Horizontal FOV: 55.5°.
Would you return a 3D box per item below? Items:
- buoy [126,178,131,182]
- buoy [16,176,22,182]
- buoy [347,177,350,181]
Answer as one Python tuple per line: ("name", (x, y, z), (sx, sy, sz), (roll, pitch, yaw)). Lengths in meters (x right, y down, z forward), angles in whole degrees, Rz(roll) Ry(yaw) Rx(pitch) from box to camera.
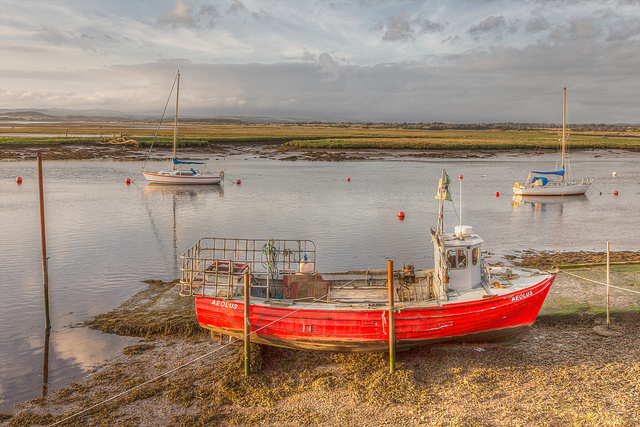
("buoy", (-19.619, -3.477, 62.087), (0.390, 0.250, 0.461), (16, 1, -4))
("buoy", (-28.889, -3.307, 58.364), (0.524, 0.347, 0.605), (4, 6, -4))
("buoy", (3.134, -3.829, 66.536), (0.365, 0.348, 0.421), (-9, -1, -3))
